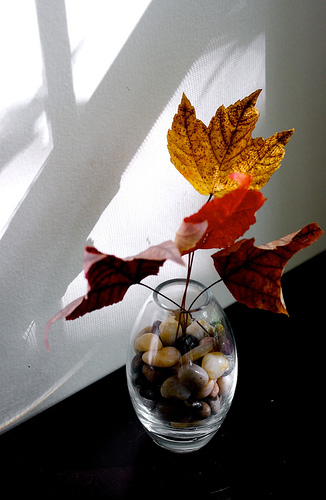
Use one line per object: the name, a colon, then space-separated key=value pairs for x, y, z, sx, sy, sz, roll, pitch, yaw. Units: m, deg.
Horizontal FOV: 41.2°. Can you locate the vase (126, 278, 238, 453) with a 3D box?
vase: x=0.024 y=0.121 z=0.581 sx=0.161 sy=0.253 sz=0.173 roll=3 pitch=13 yaw=17
